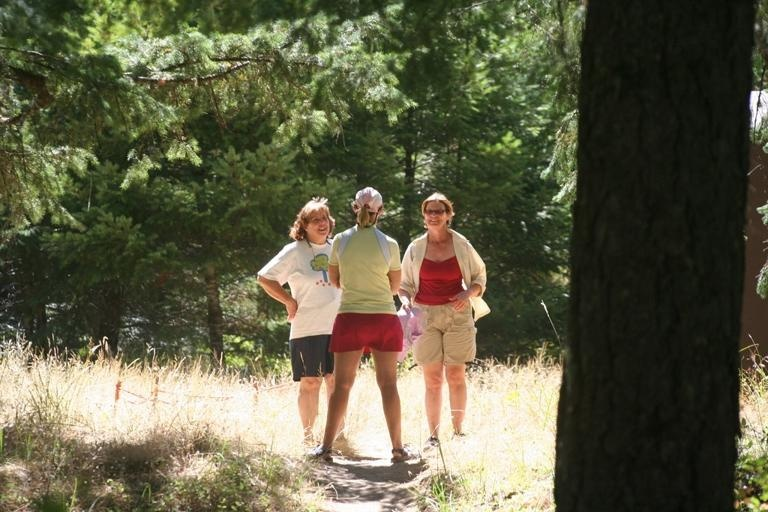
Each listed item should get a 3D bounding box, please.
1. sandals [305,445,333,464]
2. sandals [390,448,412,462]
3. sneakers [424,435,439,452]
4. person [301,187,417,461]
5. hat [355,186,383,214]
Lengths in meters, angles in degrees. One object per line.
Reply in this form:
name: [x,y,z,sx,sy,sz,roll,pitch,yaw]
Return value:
sandals: [-0.592,1.855,9.282,0.224,0.106,0.126,17,2,-16]
sandals: [0.158,1.869,9.404,0.089,0.117,0.260,0,1,16]
sneakers: [0.466,1.773,9.477,0.157,0.180,0.102,1,-15,6]
person: [-0.178,0.674,9.198,0.700,2.190,0.398,1,-5,-4]
hat: [-0.134,-0.519,9.320,0.184,0.228,0.250,2,21,6]
